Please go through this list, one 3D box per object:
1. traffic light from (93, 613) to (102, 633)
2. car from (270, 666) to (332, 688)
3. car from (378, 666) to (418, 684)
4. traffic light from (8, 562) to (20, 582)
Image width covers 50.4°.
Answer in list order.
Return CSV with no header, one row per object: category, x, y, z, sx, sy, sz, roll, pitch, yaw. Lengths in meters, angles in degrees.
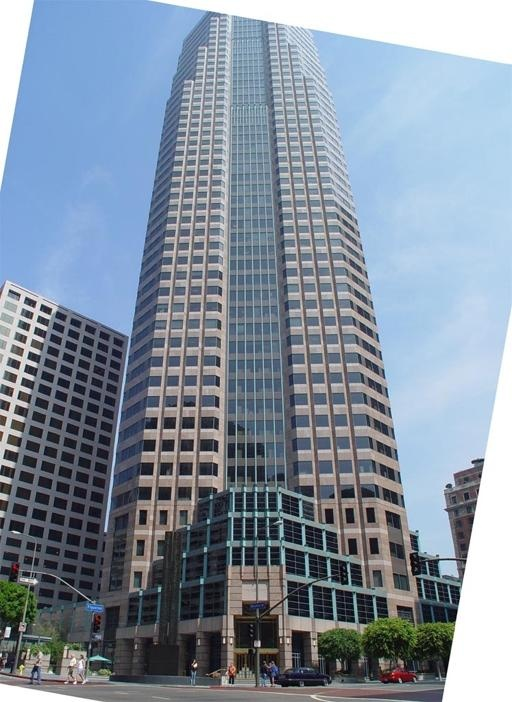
traffic light,-7.584,13.056,26.082,0.285,0.877,1.554,10,-33,-16
car,2.714,19.397,32.426,2.712,1.004,2.877,-6,-32,10
car,8.652,19.535,32.733,2.360,0.811,1.456,25,-40,-35
traffic light,-10.454,9.605,23.699,0.290,0.862,1.168,13,-34,-21
